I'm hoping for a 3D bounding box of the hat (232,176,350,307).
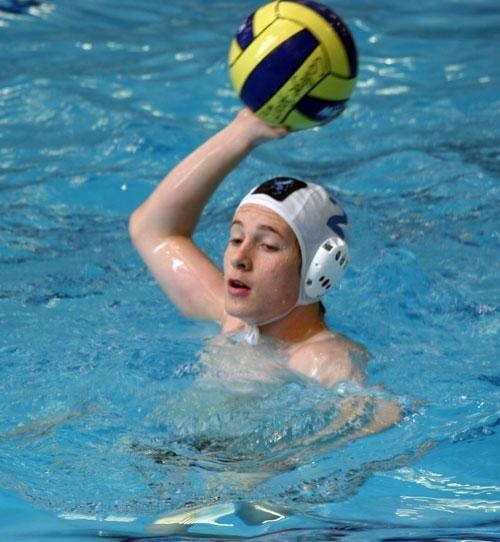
[{"bbox_3d":[0.251,-0.132,2.714,0.378,0.428,0.419,-19,38,-31],"label":"hat"}]
